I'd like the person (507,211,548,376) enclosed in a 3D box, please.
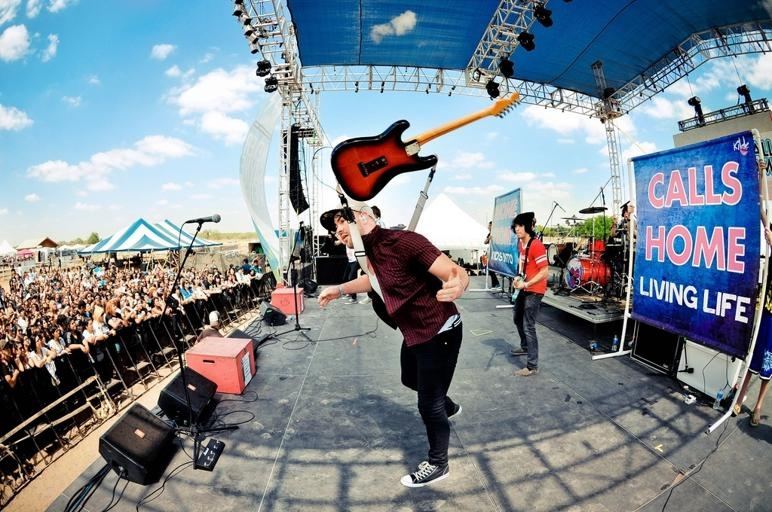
[{"bbox_3d":[2.362,0.555,5.937,0.549,2.588,1.008,-1,8,21],"label":"person"}]

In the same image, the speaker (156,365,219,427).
[{"bbox_3d":[-2.811,1.947,5.060,0.508,0.555,0.629,6,18,5],"label":"speaker"}]

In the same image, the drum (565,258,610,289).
[{"bbox_3d":[4.839,0.366,8.783,0.704,0.791,0.668,-4,6,-11],"label":"drum"}]

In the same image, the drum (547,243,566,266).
[{"bbox_3d":[6.274,-0.093,13.202,0.600,0.744,0.663,-3,12,5],"label":"drum"}]

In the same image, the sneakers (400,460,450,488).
[{"bbox_3d":[0.453,2.483,4.154,0.643,0.286,0.235,0,-22,-7],"label":"sneakers"}]

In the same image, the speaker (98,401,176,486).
[{"bbox_3d":[-3.025,2.263,4.536,0.745,0.529,0.673,29,23,1],"label":"speaker"}]

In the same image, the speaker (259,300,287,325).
[{"bbox_3d":[-2.529,1.223,8.079,0.398,0.296,0.561,7,10,-22],"label":"speaker"}]

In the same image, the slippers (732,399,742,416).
[{"bbox_3d":[4.700,2.021,4.821,0.255,0.100,0.021,42,4,-35],"label":"slippers"}]

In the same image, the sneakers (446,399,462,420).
[{"bbox_3d":[0.879,1.999,4.707,0.188,0.183,0.511,-1,-19,1],"label":"sneakers"}]

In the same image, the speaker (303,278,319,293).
[{"bbox_3d":[-2.530,0.919,11.565,0.431,0.432,0.353,1,3,19],"label":"speaker"}]

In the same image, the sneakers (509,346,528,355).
[{"bbox_3d":[2.340,1.680,6.371,0.234,0.122,0.117,2,-14,1],"label":"sneakers"}]

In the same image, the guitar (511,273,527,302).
[{"bbox_3d":[2.356,0.539,6.381,0.101,0.782,0.326,6,0,18],"label":"guitar"}]
